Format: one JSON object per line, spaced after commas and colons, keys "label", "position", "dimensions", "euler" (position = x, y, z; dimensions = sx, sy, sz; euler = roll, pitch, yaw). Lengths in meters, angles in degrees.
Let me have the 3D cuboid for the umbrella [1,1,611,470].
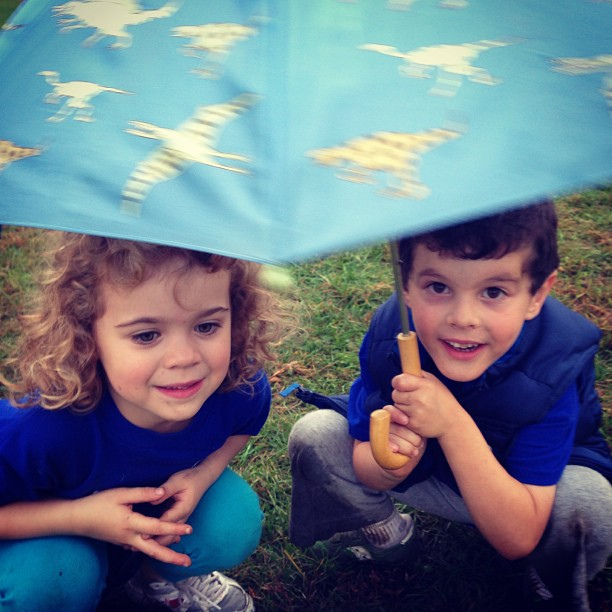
{"label": "umbrella", "position": [0.009, -0.146, 1.174], "dimensions": [0.807, 0.499, 0.574], "euler": [-2, 46, 2]}
